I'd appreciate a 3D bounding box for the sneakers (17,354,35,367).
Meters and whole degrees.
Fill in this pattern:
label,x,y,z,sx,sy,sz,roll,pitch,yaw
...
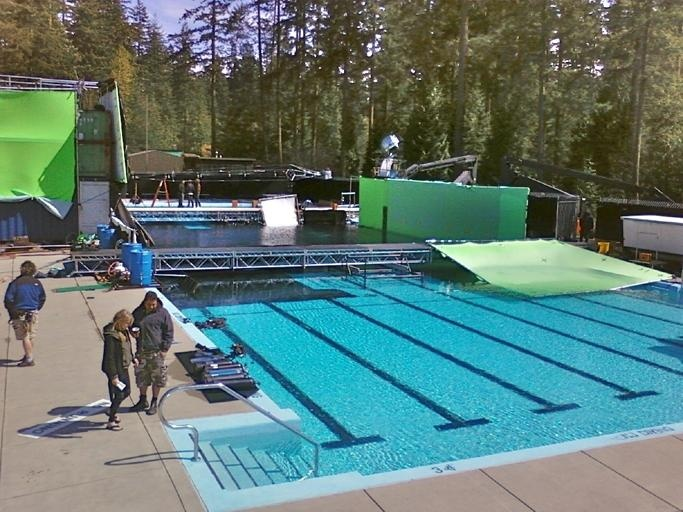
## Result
label,x,y,z,sx,sy,sz,roll,pitch,yaw
sneakers,-5.824,1.903,10.387,0.380,0.154,0.136,-3,-1,37

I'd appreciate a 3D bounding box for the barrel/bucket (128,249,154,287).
label,x,y,z,sx,sy,sz,roll,pitch,yaw
barrel/bucket,-6.175,0.281,17.396,0.628,1.098,0.812,0,9,-20

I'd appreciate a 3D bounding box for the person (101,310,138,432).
label,x,y,z,sx,sy,sz,roll,pitch,yaw
person,-3.247,1.606,8.185,0.396,1.675,0.542,0,9,-21

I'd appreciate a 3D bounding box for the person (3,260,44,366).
label,x,y,z,sx,sy,sz,roll,pitch,yaw
person,-5.755,0.983,10.255,0.624,1.973,0.659,-1,10,-29

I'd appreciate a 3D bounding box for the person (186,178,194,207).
label,x,y,z,sx,sy,sz,roll,pitch,yaw
person,-8.984,-3.916,33.609,0.389,1.492,1.319,2,9,-13

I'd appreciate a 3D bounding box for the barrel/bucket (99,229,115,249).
label,x,y,z,sx,sy,sz,roll,pitch,yaw
barrel/bucket,-8.526,-0.783,20.972,0.777,0.690,0.717,1,7,0
